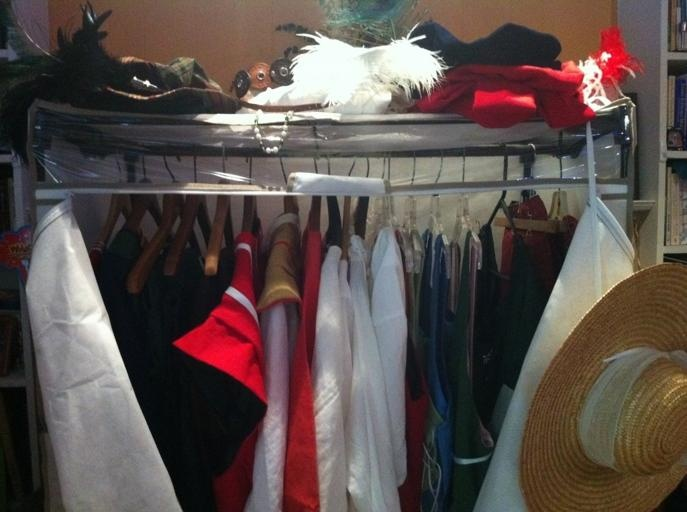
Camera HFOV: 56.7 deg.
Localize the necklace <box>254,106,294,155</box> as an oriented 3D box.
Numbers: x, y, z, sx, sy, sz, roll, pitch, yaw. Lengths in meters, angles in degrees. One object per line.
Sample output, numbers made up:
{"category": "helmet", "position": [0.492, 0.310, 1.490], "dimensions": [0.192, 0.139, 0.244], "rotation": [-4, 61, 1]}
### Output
{"category": "necklace", "position": [-0.195, -0.327, 1.741], "dimensions": [0.078, 0.135, 0.044], "rotation": [4, -2, 8]}
